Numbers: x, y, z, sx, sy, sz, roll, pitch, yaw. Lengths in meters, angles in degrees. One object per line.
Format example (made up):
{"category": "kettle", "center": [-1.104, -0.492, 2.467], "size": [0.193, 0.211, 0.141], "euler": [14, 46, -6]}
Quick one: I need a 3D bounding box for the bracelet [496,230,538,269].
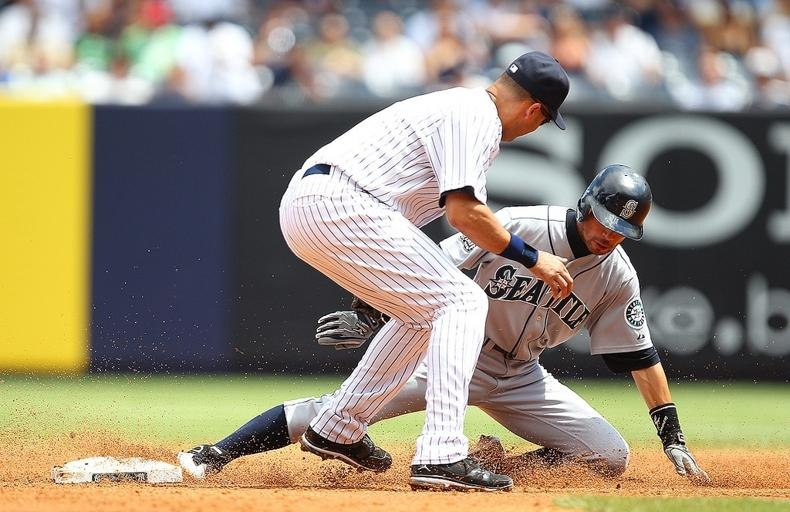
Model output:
{"category": "bracelet", "center": [0.904, -0.012, 7.981], "size": [0.263, 0.207, 0.209], "euler": [34, 12, -41]}

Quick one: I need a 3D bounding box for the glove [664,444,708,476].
{"category": "glove", "center": [2.246, 1.576, 8.505], "size": [0.337, 0.263, 0.112], "euler": [3, 7, 14]}

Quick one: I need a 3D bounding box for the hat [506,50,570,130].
{"category": "hat", "center": [1.079, -1.267, 8.208], "size": [0.569, 0.330, 0.398], "euler": [41, 17, -8]}

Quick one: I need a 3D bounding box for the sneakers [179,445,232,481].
{"category": "sneakers", "center": [-1.453, 1.550, 8.369], "size": [0.412, 0.187, 0.183], "euler": [-4, -21, -40]}

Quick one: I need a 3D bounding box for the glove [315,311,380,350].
{"category": "glove", "center": [-0.368, 0.586, 8.494], "size": [0.411, 0.263, 0.145], "euler": [4, -17, 0]}

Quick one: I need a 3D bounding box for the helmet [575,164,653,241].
{"category": "helmet", "center": [1.676, -0.435, 8.504], "size": [0.446, 0.447, 0.600], "euler": [30, 26, -23]}
